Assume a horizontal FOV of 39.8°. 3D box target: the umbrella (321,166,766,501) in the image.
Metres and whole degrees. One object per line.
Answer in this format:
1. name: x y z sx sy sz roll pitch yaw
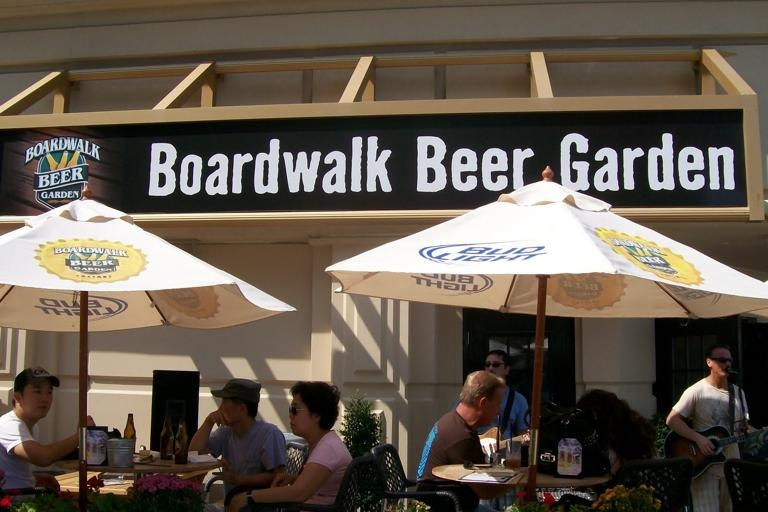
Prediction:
1. umbrella: 1.475 0.620 9.403 3.451 2.878 2.115 -1 -14 -3

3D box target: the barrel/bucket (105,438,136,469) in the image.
1. barrel/bucket: -2.555 1.953 10.446 0.280 0.253 0.254 -3 -11 8

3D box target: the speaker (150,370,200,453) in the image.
1. speaker: -2.476 1.698 12.212 0.535 1.073 0.583 0 1 5

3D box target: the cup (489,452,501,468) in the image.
1. cup: 1.087 2.002 10.424 0.112 0.180 0.104 2 -13 1

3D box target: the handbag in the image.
1. handbag: 1.830 1.903 10.430 0.663 0.569 0.354 -3 -17 20

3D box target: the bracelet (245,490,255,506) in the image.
1. bracelet: -1.231 2.240 9.772 0.096 0.098 0.098 -1 27 2

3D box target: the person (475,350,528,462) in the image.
1. person: 1.380 1.675 12.443 0.545 1.035 0.539 2 1 6
